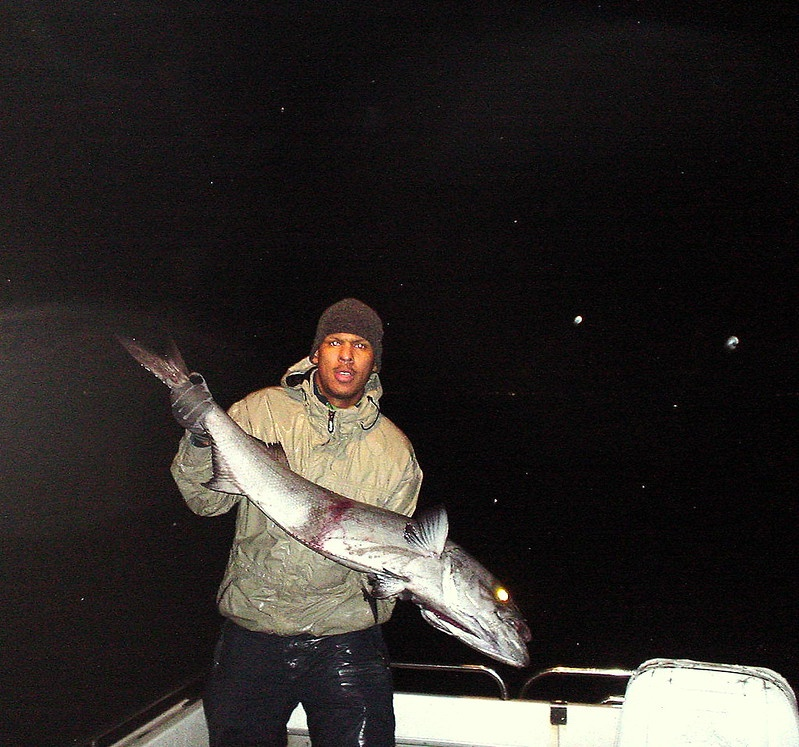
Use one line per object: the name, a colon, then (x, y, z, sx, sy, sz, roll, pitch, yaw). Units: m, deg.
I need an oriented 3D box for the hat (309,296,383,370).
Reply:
hat: (-0.215, -0.182, 4.523, 0.463, 0.264, 0.373, 8, -9, -5)

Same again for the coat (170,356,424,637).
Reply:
coat: (-0.408, 0.576, 4.221, 1.399, 1.011, 0.506, 0, -4, -8)
